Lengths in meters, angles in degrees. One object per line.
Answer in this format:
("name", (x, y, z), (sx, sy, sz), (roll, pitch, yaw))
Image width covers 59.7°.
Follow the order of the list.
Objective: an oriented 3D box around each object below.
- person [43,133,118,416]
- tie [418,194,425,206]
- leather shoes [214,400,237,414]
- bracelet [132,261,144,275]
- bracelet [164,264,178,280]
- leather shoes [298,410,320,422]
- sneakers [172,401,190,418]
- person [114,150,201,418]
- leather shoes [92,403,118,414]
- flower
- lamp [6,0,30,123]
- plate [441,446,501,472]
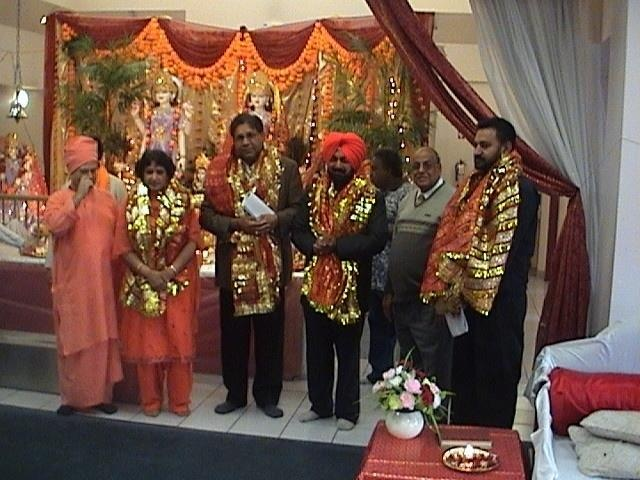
("person", (-1.511, 0.239, 3.576), (0.453, 1.759, 0.442), (-5, 12, -21))
("tie", (0.603, -0.245, 3.395), (0.038, 0.061, 0.015), (-11, -38, 25))
("leather shoes", (-0.621, 1.086, 3.633), (0.066, 0.048, 0.121), (31, 13, 37))
("bracelet", (-1.142, 0.177, 3.515), (0.016, 0.068, 0.064), (-15, -8, -14))
("bracelet", (-0.945, 0.206, 3.540), (0.069, 0.105, 0.049), (1, 3, -16))
("leather shoes", (-0.074, 1.118, 3.506), (0.106, 0.060, 0.044), (19, -47, -29))
("sneakers", (-0.894, 1.089, 3.590), (0.106, 0.124, 0.069), (0, 1, 28))
("person", (-1.045, 0.285, 3.592), (0.555, 1.683, 0.425), (-2, 12, -8))
("leather shoes", (-1.397, 1.109, 3.651), (0.162, 0.079, 0.064), (0, 6, 15))
("flower", (0.436, 0.741, 2.679), (0.326, 0.404, 0.374), (4, -6, 0))
("lamp", (-3.418, -2.007, 6.256), (0.256, 1.328, 0.771), (-7, 13, -28))
("plate", (0.643, 0.944, 2.402), (0.235, 0.060, 0.166), (1, 13, 7))
